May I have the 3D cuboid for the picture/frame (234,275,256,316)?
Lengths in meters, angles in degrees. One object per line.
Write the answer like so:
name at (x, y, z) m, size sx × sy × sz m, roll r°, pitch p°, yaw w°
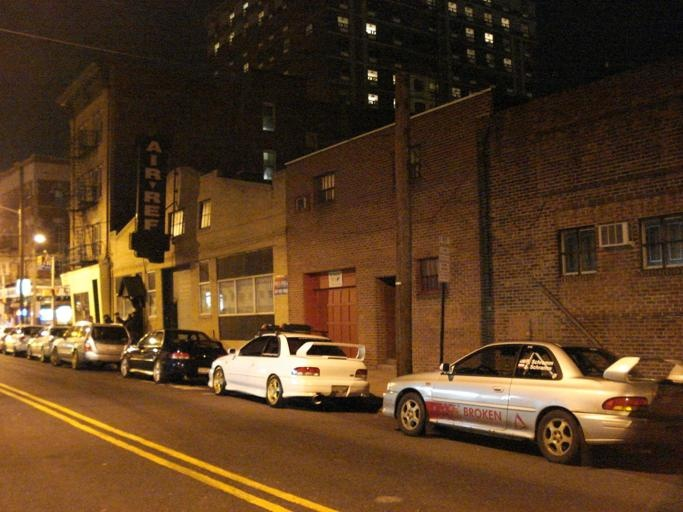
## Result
picture/frame at (-3.917, 1.595, 29.922) m, size 0.812 × 1.439 × 1.515 m, roll 3°, pitch -8°, yaw -31°

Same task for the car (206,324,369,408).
car at (-1.392, 2.803, 18.173) m, size 3.756 × 1.754 × 1.552 m, roll -2°, pitch -3°, yaw 42°

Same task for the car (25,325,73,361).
car at (-13.137, 3.853, 32.676) m, size 1.541 × 1.013 × 3.008 m, roll 2°, pitch 0°, yaw -26°

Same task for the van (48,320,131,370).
van at (-9.720, 3.385, 28.353) m, size 1.855 × 1.354 × 4.101 m, roll 3°, pitch -3°, yaw -32°

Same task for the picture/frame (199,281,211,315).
picture/frame at (-6.173, 1.901, 33.025) m, size 0.099 × 1.444 × 1.039 m, roll 1°, pitch -2°, yaw -33°

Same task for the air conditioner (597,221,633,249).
air conditioner at (6.486, -0.506, 17.340) m, size 0.217 × 0.505 × 0.615 m, roll 7°, pitch -10°, yaw -35°

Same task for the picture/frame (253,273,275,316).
picture/frame at (-3.411, 1.498, 28.791) m, size 1.520 × 1.521 × 0.156 m, roll -1°, pitch 1°, yaw -22°
